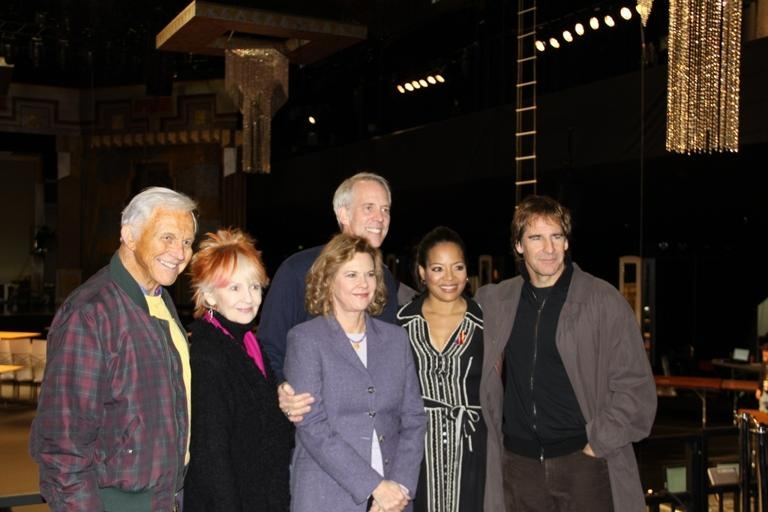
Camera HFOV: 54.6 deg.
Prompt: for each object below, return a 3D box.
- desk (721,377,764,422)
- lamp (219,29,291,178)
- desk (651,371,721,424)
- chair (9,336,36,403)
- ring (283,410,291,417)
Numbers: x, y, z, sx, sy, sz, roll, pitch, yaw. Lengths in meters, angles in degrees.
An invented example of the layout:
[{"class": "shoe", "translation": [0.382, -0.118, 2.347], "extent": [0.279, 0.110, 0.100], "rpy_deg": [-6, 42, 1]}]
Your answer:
[{"class": "desk", "translation": [4.869, 1.925, 10.177], "extent": [0.451, 0.519, 0.876], "rpy_deg": [-1, -4, 26]}, {"class": "lamp", "translation": [-2.158, -2.467, 12.668], "extent": [1.039, 1.906, 1.174], "rpy_deg": [2, -3, -26]}, {"class": "desk", "translation": [4.329, 1.817, 10.649], "extent": [1.057, 1.028, 1.076], "rpy_deg": [-3, -12, 19]}, {"class": "chair", "translation": [-6.126, 2.049, 12.649], "extent": [0.346, 0.582, 0.364], "rpy_deg": [-1, 4, -30]}, {"class": "ring", "translation": [-0.753, 1.222, 5.815], "extent": [0.015, 0.046, 0.047], "rpy_deg": [-17, 2, -26]}]
